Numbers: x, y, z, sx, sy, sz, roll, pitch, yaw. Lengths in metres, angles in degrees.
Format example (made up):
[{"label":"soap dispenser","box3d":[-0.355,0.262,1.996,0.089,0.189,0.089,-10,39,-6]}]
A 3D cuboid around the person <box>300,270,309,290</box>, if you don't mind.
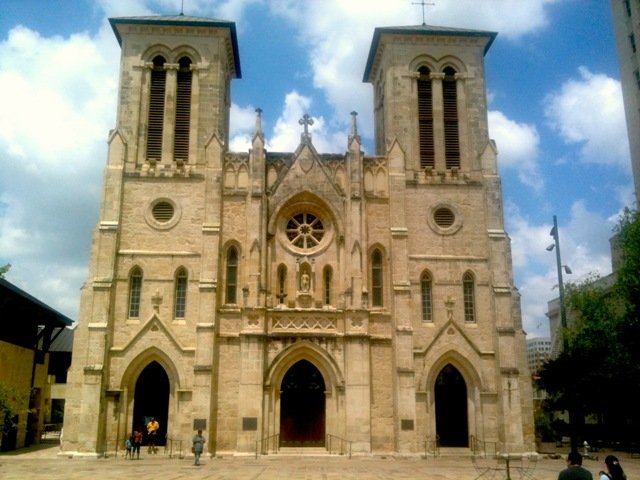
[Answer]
[{"label":"person","box3d":[-1.022,2.716,42.722,0.676,1.374,0.509,2,-23,-2]}]
